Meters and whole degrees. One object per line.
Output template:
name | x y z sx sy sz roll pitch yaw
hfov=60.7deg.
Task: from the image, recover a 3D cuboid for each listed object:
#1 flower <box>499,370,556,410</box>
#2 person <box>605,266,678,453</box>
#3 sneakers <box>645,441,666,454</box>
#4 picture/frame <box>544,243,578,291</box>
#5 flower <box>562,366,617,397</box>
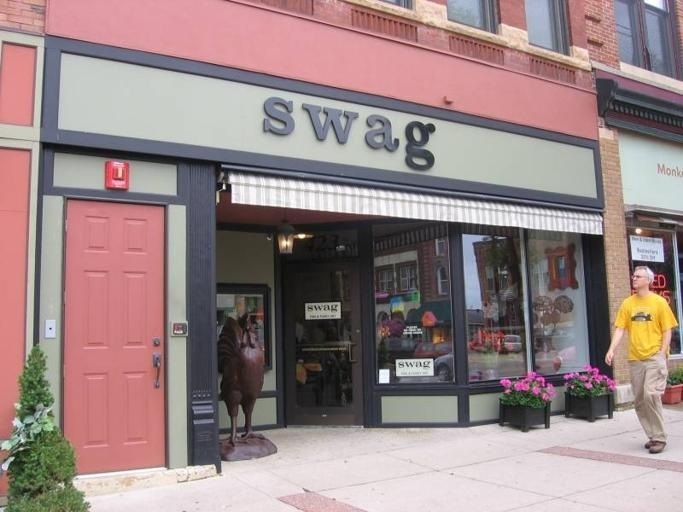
flower | 3.012 2.210 9.529 0.642 0.532 0.782 3 6 3
person | 4.174 1.388 8.024 0.751 2.466 0.601 -3 -3 39
sneakers | 4.205 2.539 7.788 0.239 0.148 0.269 -2 -3 20
picture/frame | 4.105 0.222 10.975 0.773 1.162 0.137 2 -7 -26
flower | 4.254 2.082 10.053 0.547 0.438 0.592 3 -6 -27
